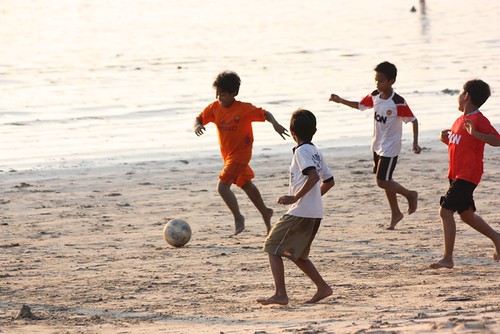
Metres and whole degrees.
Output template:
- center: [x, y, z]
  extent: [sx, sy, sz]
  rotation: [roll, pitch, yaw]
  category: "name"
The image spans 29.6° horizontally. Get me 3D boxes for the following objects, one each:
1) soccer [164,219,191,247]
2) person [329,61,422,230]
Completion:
- center: [-1.592, 1.464, 20.690]
  extent: [0.491, 0.406, 0.430]
  rotation: [29, -22, -8]
  category: "soccer"
- center: [3.104, -0.460, 21.027]
  extent: [1.512, 3.720, 0.869]
  rotation: [2, 15, 25]
  category: "person"
